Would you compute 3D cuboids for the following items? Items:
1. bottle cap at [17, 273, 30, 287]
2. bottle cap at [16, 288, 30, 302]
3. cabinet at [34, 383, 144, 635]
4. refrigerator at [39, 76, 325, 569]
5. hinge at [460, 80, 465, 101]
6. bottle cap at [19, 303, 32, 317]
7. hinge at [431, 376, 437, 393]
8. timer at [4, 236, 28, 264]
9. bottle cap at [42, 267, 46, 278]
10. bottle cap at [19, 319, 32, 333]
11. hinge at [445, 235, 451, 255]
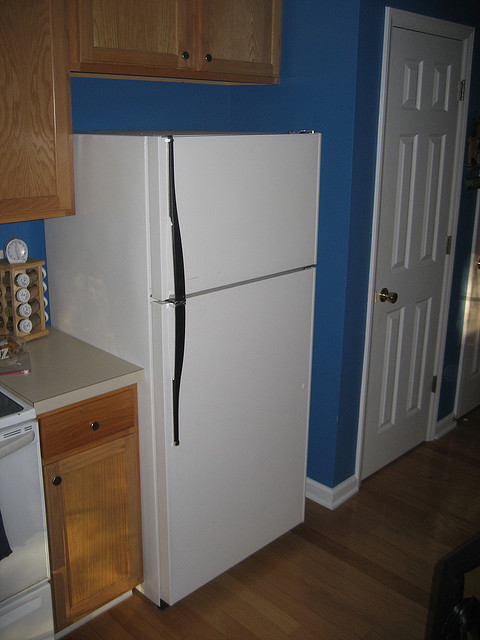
[{"bbox_3d":[-0.741,-0.135,1.783,0.008,0.039,0.031,3,5,28],"label":"bottle cap"},{"bbox_3d":[-0.747,-0.085,1.802,0.016,0.051,0.058,5,13,27],"label":"bottle cap"},{"bbox_3d":[-0.530,0.542,1.753,0.282,0.800,0.325,-6,22,-36],"label":"cabinet"},{"bbox_3d":[-0.121,0.193,1.828,0.969,1.656,0.627,-4,11,-23],"label":"refrigerator"},{"bbox_3d":[1.118,-1.152,2.619,0.032,0.096,0.013,-7,12,-37],"label":"hinge"},{"bbox_3d":[-0.747,-0.033,1.821,0.030,0.044,0.036,-1,-7,18],"label":"bottle cap"},{"bbox_3d":[1.120,0.370,3.011,0.029,0.094,0.008,-1,9,-7],"label":"hinge"},{"bbox_3d":[-0.776,-0.239,1.799,0.016,0.080,0.063,5,30,35],"label":"timer"},{"bbox_3d":[-0.726,-0.174,1.935,0.007,0.028,0.023,1,9,4],"label":"bottle cap"},{"bbox_3d":[-0.759,0.022,1.845,0.042,0.055,0.032,-6,12,-28],"label":"bottle cap"},{"bbox_3d":[1.120,-0.401,2.811,0.033,0.097,0.009,-6,11,-32],"label":"hinge"}]
